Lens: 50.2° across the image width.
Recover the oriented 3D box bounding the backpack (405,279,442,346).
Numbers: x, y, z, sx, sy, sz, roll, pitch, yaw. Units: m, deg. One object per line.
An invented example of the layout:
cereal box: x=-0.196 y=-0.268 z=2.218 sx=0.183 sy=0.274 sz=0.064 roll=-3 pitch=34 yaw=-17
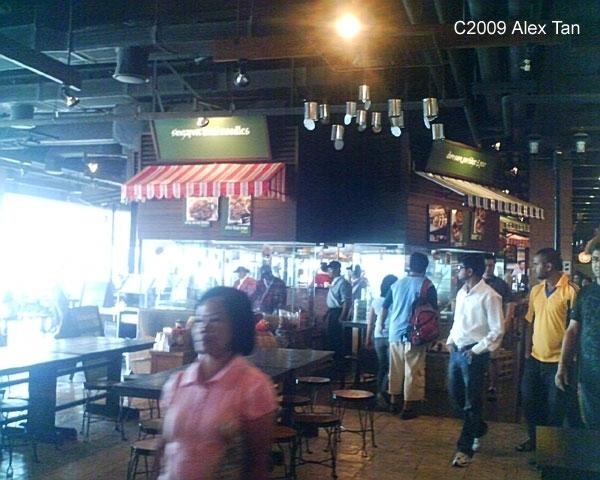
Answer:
backpack: x=1.564 y=0.929 z=8.168 sx=0.454 sy=0.805 sz=0.570 roll=0 pitch=7 yaw=12

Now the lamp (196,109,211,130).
lamp: x=-1.527 y=-1.842 z=9.986 sx=0.236 sy=0.183 sz=0.116 roll=3 pitch=5 yaw=33

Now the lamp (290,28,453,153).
lamp: x=1.057 y=-1.999 z=8.774 sx=2.010 sy=0.519 sz=1.304 roll=3 pitch=-11 yaw=-16

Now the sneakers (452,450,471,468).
sneakers: x=1.758 y=2.399 z=6.994 sx=0.111 sy=0.105 sz=0.242 roll=-6 pitch=-22 yaw=22

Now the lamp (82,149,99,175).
lamp: x=-4.584 y=-1.664 z=14.113 sx=0.350 sy=0.451 sz=2.050 roll=-1 pitch=4 yaw=-18
